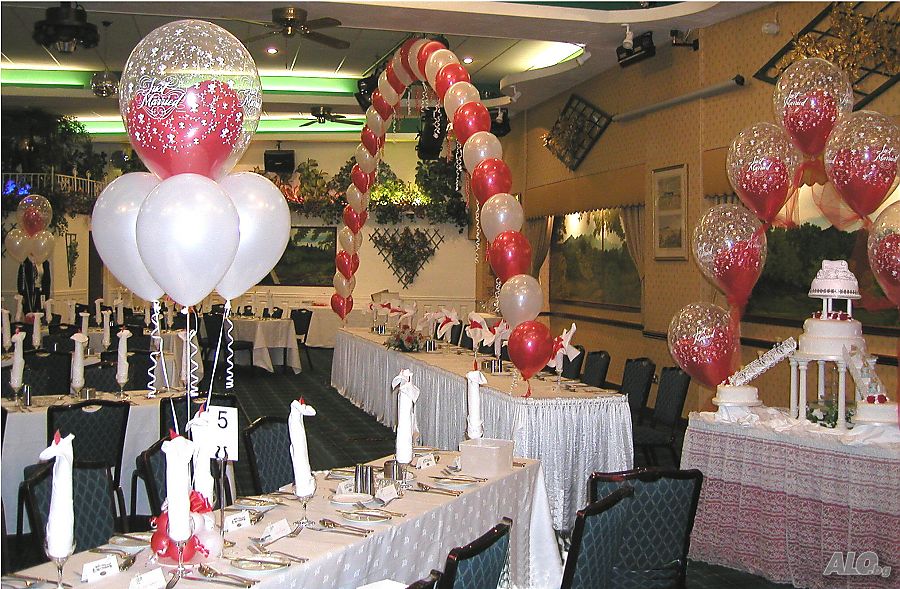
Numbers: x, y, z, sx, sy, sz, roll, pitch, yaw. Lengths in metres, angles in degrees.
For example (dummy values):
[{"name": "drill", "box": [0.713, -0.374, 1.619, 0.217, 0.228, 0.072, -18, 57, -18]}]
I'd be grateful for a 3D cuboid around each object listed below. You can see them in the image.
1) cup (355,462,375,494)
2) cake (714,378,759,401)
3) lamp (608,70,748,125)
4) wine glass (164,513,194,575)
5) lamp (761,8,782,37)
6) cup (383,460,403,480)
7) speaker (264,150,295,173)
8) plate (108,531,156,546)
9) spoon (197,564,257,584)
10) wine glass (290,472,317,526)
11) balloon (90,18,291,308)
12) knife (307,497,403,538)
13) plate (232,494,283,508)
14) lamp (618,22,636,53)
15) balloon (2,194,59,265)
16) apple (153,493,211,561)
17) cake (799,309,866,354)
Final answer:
[{"name": "cup", "box": [-0.558, 1.180, 4.610, 0.136, 0.238, 0.158, 1, -4, -7]}, {"name": "cake", "box": [2.384, 0.852, 5.898, 0.338, 0.148, 0.139, -3, -7, 22]}, {"name": "lamp", "box": [3.113, -2.447, 9.355, 1.481, 0.126, 0.221, -17, 39, 0]}, {"name": "wine glass", "box": [-1.455, 1.299, 3.796, 0.118, 0.313, 0.120, 1, -6, -10]}, {"name": "lamp", "box": [3.704, -2.981, 8.206, 0.205, 0.301, 0.206, 5, -8, -41]}, {"name": "cup", "box": [-0.375, 1.173, 4.762, 0.132, 0.112, 0.164, -2, -7, 12]}, {"name": "speaker", "box": [-4.027, -2.971, 16.641, 0.728, 0.590, 0.448, 1, 13, 1]}, {"name": "plate", "box": [-1.823, 1.373, 4.042, 0.238, 0.044, 0.163, -1, -7, 2]}, {"name": "spoon", "box": [-1.203, 1.467, 3.751, 0.335, 0.086, 0.072, -2, -7, 14]}, {"name": "wine glass", "box": [-0.905, 1.229, 4.368, 0.119, 0.303, 0.432, 1, -7, -10]}, {"name": "balloon", "box": [-1.551, -0.733, 4.312, 1.128, 1.694, 0.700, 2, -6, -20]}, {"name": "knife", "box": [-0.620, 1.344, 4.292, 0.574, 0.131, 0.375, 0, -7, -2]}, {"name": "plate", "box": [-1.219, 1.290, 4.466, 0.279, 0.055, 0.166, -1, -7, 1]}, {"name": "lamp", "box": [2.321, -3.153, 9.143, 0.179, 0.303, 0.289, -1, -21, 20]}, {"name": "balloon", "box": [-6.823, -0.999, 11.429, 0.639, 1.085, 0.771, 4, -7, -34]}, {"name": "apple", "box": [-1.495, 1.257, 3.897, 0.252, 0.377, 0.174, -1, 2, 3]}, {"name": "cake", "box": [3.178, 0.406, 5.875, 0.509, 0.334, 0.536, 2, 1, 25]}]
